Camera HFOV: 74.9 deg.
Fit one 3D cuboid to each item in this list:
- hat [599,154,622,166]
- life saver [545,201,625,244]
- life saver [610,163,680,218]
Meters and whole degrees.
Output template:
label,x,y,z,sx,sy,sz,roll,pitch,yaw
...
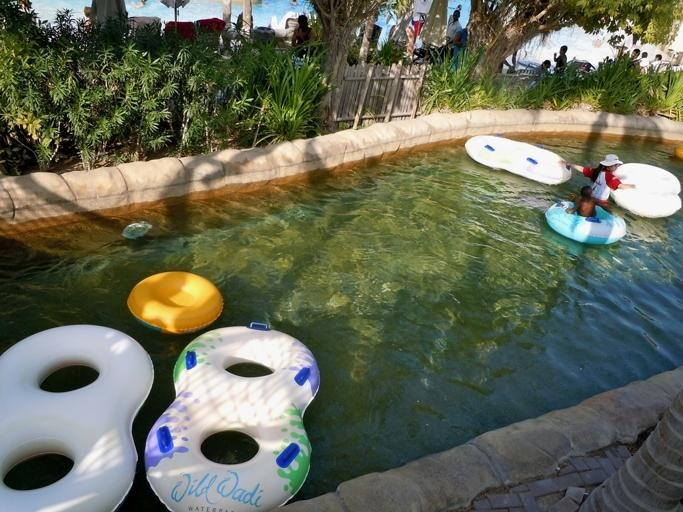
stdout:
label,x,y,z,sx,sy,sz,roll,pitch,yaw
hat,5.593,-2.010,9.254,0.283,0.231,0.490,24,32,36
life saver,4.571,-0.573,8.311,0.962,0.337,0.991,8,26,4
life saver,6.865,-1.502,9.926,1.320,0.305,1.450,24,51,20
